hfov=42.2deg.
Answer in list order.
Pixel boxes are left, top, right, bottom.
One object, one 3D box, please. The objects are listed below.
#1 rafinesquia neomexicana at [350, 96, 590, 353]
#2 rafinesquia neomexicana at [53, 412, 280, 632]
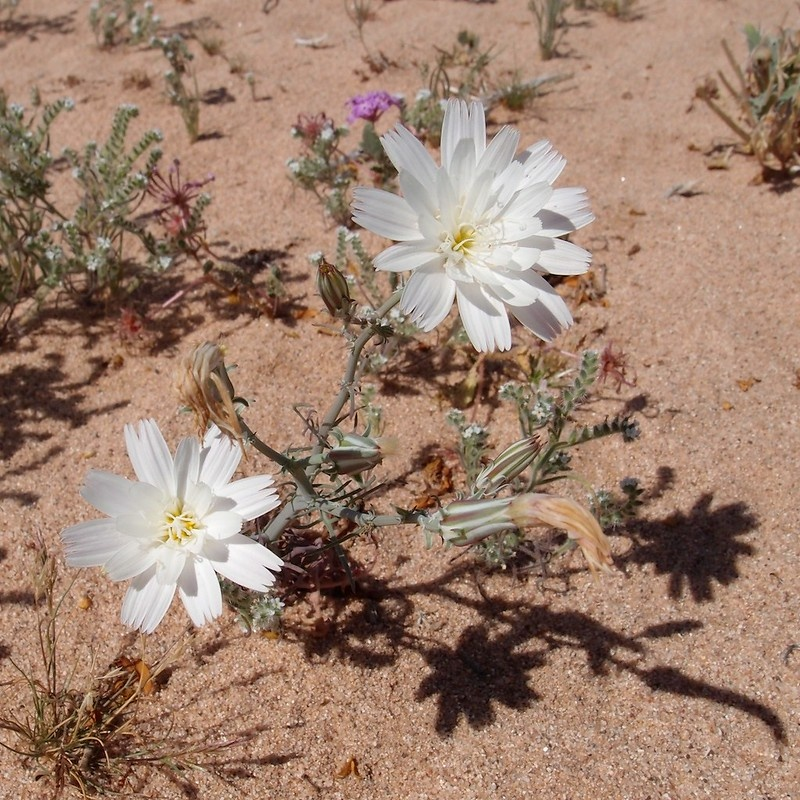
[{"bbox_3d":[0.228,-0.626,3.480,0.583,0.220,0.615,14,0,-16],"label":"rafinesquia neomexicana"},{"bbox_3d":[-0.720,0.395,3.385,0.692,0.705,0.198,14,3,29],"label":"rafinesquia neomexicana"}]
